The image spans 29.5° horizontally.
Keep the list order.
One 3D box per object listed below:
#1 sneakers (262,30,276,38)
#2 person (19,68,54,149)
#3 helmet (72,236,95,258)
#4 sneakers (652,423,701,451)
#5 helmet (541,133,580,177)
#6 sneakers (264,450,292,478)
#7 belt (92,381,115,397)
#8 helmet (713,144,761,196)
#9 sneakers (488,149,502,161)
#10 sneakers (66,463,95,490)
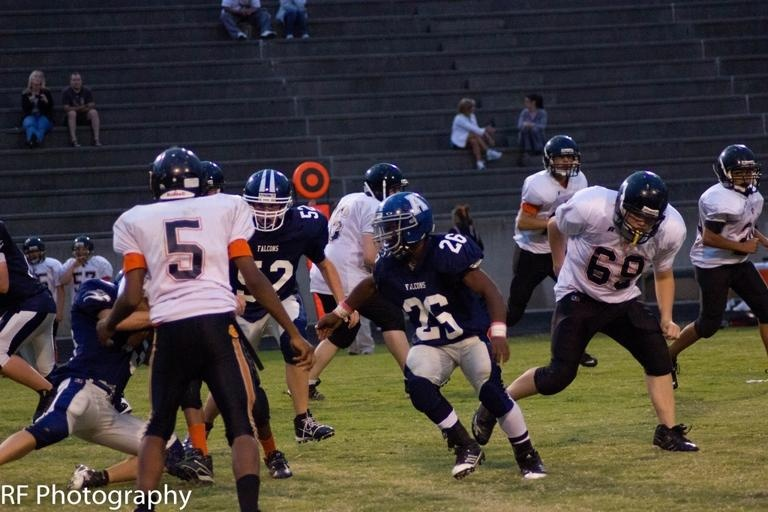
[{"bbox_3d":[-2.033,-3.887,25.492,0.111,0.100,0.257,12,7,28],"label":"sneakers"},{"bbox_3d":[-5.610,-2.346,23.470,0.487,1.200,0.380,-3,5,-16],"label":"person"},{"bbox_3d":[-4.290,-0.127,20.554,0.294,0.291,0.255,7,15,26],"label":"helmet"},{"bbox_3d":[3.115,1.953,15.588,0.473,0.280,0.211,-1,5,9],"label":"sneakers"},{"bbox_3d":[2.206,-1.245,18.100,0.411,0.432,0.532,-1,1,-7],"label":"helmet"},{"bbox_3d":[-1.177,2.212,15.483,0.168,0.179,0.393,-18,26,-30],"label":"sneakers"},{"bbox_3d":[-2.939,1.383,15.183,0.172,0.067,0.136,26,8,-6],"label":"belt"},{"bbox_3d":[4.276,-1.052,17.274,0.453,0.533,0.599,-12,25,-24],"label":"helmet"},{"bbox_3d":[1.776,-1.642,23.881,0.272,0.122,0.182,-4,-33,0],"label":"sneakers"},{"bbox_3d":[-3.161,2.322,15.162,0.232,0.257,0.117,25,-16,-9],"label":"sneakers"}]
